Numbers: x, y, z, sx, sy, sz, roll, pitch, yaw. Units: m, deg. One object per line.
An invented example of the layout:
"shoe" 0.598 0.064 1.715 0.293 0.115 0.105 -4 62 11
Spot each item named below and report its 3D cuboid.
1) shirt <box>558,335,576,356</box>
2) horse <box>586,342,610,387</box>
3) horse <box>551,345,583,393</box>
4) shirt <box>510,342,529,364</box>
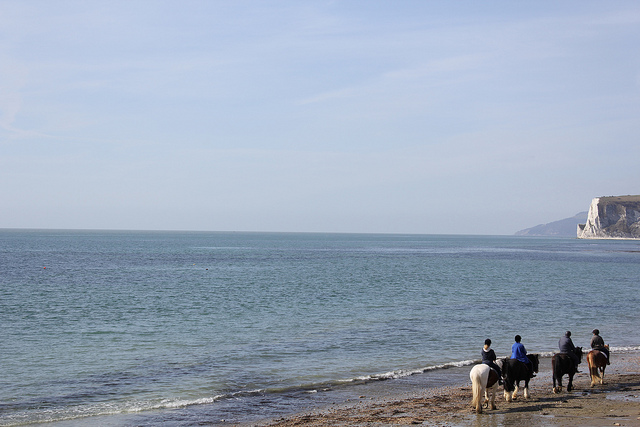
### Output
"shirt" 21.716 11.618 92.164 1.430 1.659 0.924 2 13 8
"horse" 24.432 13.517 92.647 2.103 3.403 1.362 -9 16 -35
"horse" 21.468 13.743 92.050 2.541 3.696 1.736 -11 17 -43
"shirt" 17.320 12.143 91.102 1.547 1.827 0.812 2 13 8
